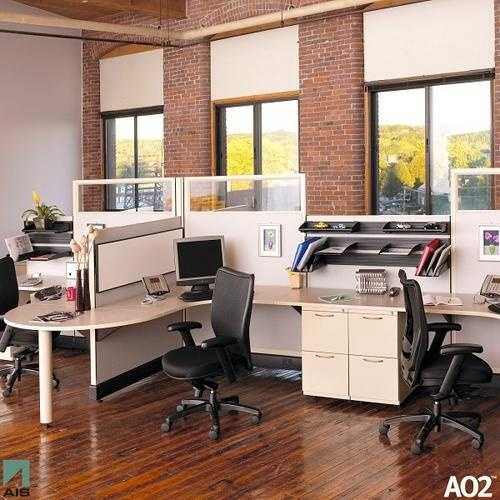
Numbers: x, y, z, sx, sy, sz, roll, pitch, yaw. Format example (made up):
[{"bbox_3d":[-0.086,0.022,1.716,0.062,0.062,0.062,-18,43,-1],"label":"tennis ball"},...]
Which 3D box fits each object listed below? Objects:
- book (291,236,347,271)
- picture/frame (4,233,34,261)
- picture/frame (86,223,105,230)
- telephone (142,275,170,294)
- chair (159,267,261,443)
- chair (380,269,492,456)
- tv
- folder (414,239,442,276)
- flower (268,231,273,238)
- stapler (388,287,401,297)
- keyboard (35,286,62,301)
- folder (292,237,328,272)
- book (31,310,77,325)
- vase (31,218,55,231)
[{"bbox_3d":[0.550,0.012,4.100,0.351,0.187,0.361,3,10,35],"label":"book"},{"bbox_3d":[-2.545,-0.028,5.367,0.045,0.262,0.419,-17,-2,30],"label":"picture/frame"},{"bbox_3d":[-1.409,-0.211,4.444,0.133,0.033,0.082,2,10,-3],"label":"picture/frame"},{"bbox_3d":[-0.806,0.296,4.161,0.196,0.156,0.044,-2,-27,-37],"label":"telephone"},{"bbox_3d":[-0.300,0.670,3.326,0.734,0.947,0.692,-4,2,-40],"label":"chair"},{"bbox_3d":[1.140,0.650,3.030,0.637,1.048,0.656,-1,3,24],"label":"chair"},{"bbox_3d":[-0.436,0.111,4.127,0.588,0.508,0.203,0,-9,-20],"label":"tv"},{"bbox_3d":[1.341,0.066,3.740,0.068,0.242,0.267,22,16,16],"label":"folder"},{"bbox_3d":[0.180,-0.146,4.447,0.047,0.038,0.011,0,8,24],"label":"flower"},{"bbox_3d":[1.137,0.337,3.871,0.049,0.042,0.146,1,2,29],"label":"stapler"},{"bbox_3d":[-1.737,0.376,4.219,0.220,0.066,0.146,-9,28,-42],"label":"keyboard"},{"bbox_3d":[0.449,0.030,4.062,0.129,0.139,0.530,3,23,36],"label":"folder"},{"bbox_3d":[-1.338,0.457,3.360,0.261,0.029,0.399,-1,2,-5],"label":"book"},{"bbox_3d":[-2.367,-0.290,5.519,0.195,0.105,0.163,1,2,32],"label":"vase"}]
